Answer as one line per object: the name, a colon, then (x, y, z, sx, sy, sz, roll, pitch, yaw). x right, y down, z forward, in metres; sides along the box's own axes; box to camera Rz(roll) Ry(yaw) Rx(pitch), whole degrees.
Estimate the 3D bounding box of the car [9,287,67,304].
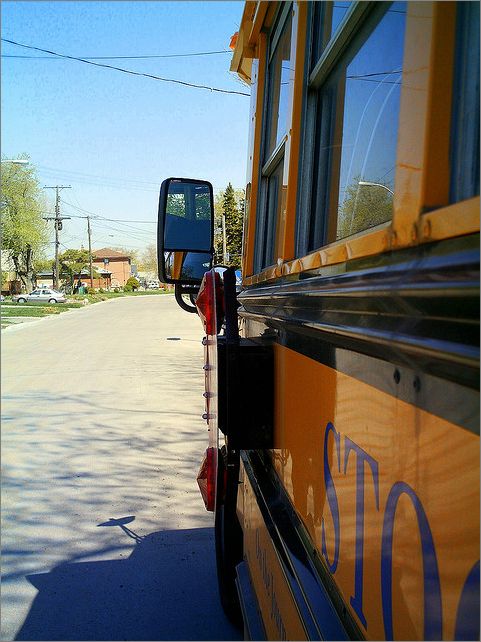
car: (-15.576, -1.940, 40.505, 4.055, 1.105, 1.414, 2, 6, 15)
